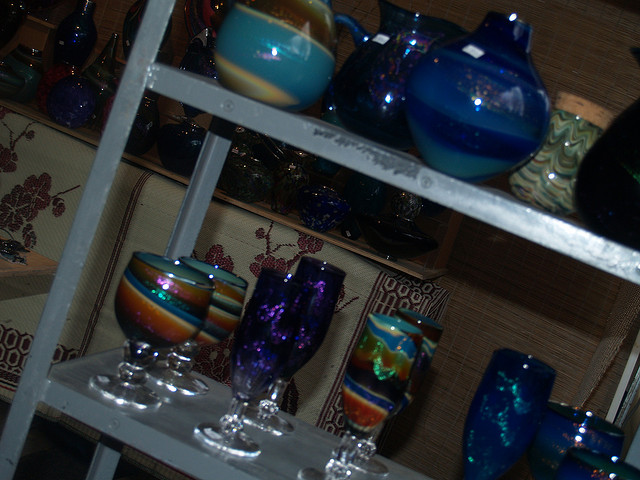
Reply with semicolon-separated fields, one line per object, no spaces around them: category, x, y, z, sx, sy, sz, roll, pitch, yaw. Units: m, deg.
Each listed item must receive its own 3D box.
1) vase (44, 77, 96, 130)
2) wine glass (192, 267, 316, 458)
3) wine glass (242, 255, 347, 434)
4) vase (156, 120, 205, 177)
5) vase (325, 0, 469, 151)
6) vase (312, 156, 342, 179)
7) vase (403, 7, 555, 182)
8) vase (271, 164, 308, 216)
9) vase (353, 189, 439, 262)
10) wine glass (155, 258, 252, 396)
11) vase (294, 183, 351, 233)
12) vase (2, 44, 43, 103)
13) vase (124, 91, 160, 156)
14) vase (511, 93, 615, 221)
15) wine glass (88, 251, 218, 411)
vase;-0.824;-0.432;1.630;0.144;0.172;0.089;0;5;-4
wine glass;-0.088;0.161;0.698;0.101;0.227;0.170;19;5;1
wine glass;-0.066;0.175;0.782;0.111;0.311;0.109;-3;30;-28
vase;-0.464;-0.315;1.646;0.152;0.198;0.162;6;-1;7
vase;0.103;-0.241;0.806;0.235;0.212;0.157;24;-1;18
vase;0.025;-0.252;1.764;0.100;0.067;0.181;22;6;-3
vase;0.205;-0.181;0.618;0.182;0.220;0.067;20;5;-7
vase;-0.099;-0.160;1.579;0.103;0.185;0.104;15;8;8
vase;0.227;-0.050;1.586;0.242;0.194;0.195;15;-3;0
wine glass;-0.201;0.136;0.798;0.119;0.203;0.130;27;5;38
vase;0.009;-0.101;1.563;0.139;0.114;0.146;16;6;-9
vase;-1.061;-0.590;1.764;0.150;0.143;0.086;21;5;0
vase;-0.587;-0.384;1.668;0.083;0.175;0.180;17;7;-24
vase;0.380;-0.165;0.799;0.121;0.191;0.127;29;47;15
wine glass;-0.236;0.124;0.691;0.119;0.194;0.121;25;-3;-17
